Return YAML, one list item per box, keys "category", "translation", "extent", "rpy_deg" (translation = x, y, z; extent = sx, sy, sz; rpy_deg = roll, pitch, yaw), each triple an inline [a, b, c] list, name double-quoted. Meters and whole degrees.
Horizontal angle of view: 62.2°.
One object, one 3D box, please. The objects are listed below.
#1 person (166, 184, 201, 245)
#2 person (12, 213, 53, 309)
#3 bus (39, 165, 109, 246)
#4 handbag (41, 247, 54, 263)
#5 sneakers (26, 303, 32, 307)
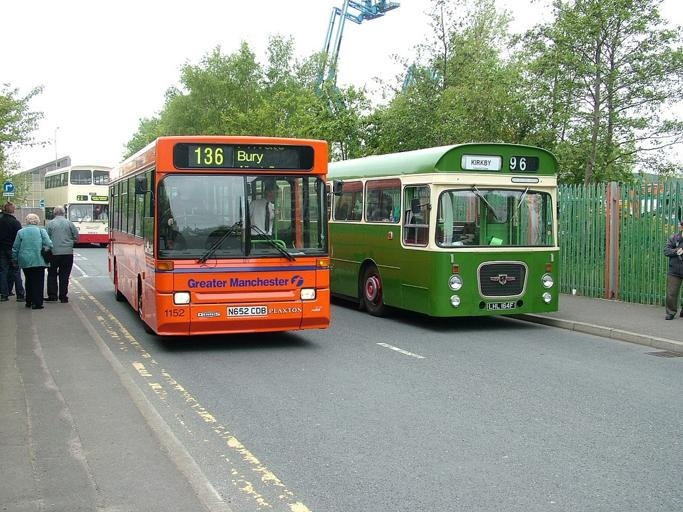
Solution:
- category: "person"
  translation: [-2.609, -0.708, 9.303]
  extent: [0.536, 1.068, 0.218]
  rpy_deg: [0, 3, -19]
- category: "person"
  translation: [-7.828, 0.101, 14.311]
  extent: [0.874, 2.365, 1.048]
  rpy_deg: [-1, 3, -30]
- category: "bus"
  translation: [-22.136, -4.107, 46.107]
  extent: [3.219, 6.066, 10.924]
  rpy_deg: [-1, 3, -41]
- category: "handbag"
  translation: [-7.621, -0.040, 14.674]
  extent: [0.101, 0.350, 0.335]
  rpy_deg: [3, 29, 25]
- category: "sneakers"
  translation: [-8.001, 1.230, 14.422]
  extent: [0.116, 0.083, 0.120]
  rpy_deg: [1, -2, -22]
